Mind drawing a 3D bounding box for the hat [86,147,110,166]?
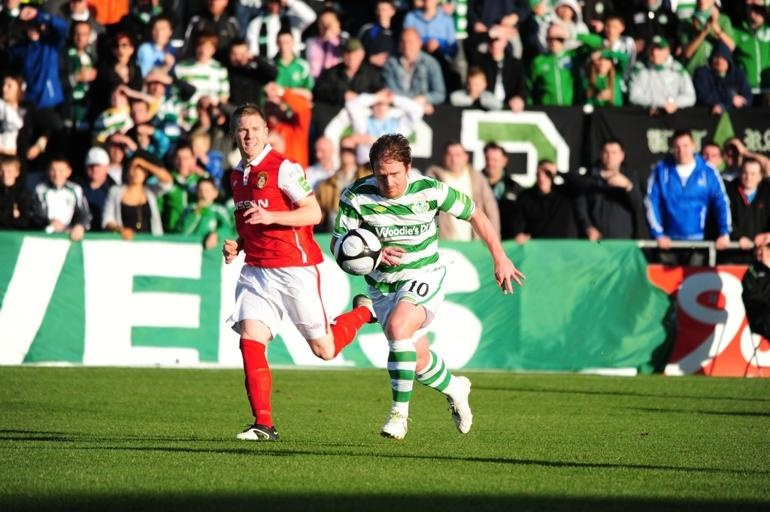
[{"bbox_3d":[-4.489,-1.576,20.095,0.269,0.280,0.309,7,13,35],"label":"hat"}]

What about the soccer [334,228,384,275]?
[{"bbox_3d":[-0.314,-0.089,15.376,0.509,0.549,0.529,3,5,5],"label":"soccer"}]

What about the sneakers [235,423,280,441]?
[{"bbox_3d":[-1.493,2.079,15.147,0.500,0.215,0.189,4,-11,-15],"label":"sneakers"}]

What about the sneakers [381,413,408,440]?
[{"bbox_3d":[0.105,1.991,15.090,0.319,0.308,0.240,-3,11,-8],"label":"sneakers"}]

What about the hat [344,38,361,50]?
[{"bbox_3d":[-0.522,-3.467,21.018,0.282,0.208,0.360,-1,11,-1],"label":"hat"}]
